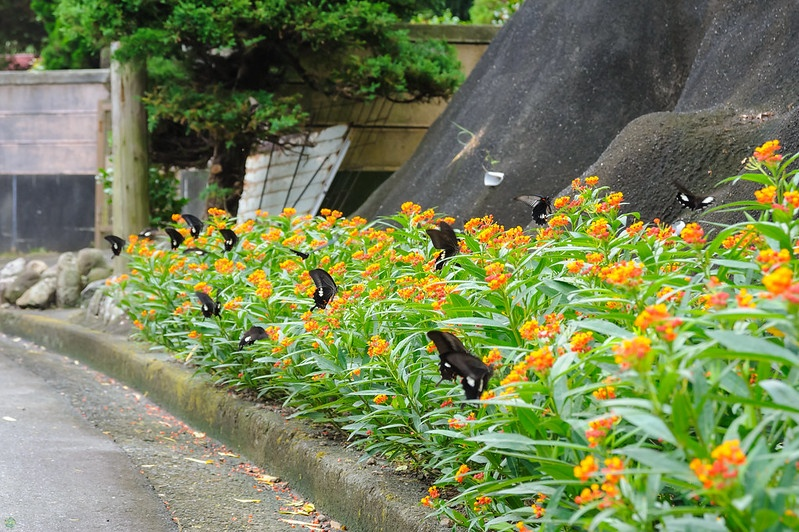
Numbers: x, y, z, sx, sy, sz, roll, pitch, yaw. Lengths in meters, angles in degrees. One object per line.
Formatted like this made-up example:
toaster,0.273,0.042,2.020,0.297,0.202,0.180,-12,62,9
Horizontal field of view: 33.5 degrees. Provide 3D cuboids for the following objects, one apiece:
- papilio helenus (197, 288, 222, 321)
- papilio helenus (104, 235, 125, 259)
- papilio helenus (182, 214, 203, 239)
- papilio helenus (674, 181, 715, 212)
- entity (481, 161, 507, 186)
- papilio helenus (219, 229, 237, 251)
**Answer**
papilio helenus,-1.446,0.291,10.126,0.164,0.189,0.121,59,25,1
papilio helenus,-2.677,-0.175,12.480,0.192,0.127,0.175,27,24,-20
papilio helenus,-1.706,-0.341,10.990,0.090,0.205,0.194,-14,65,-21
papilio helenus,2.237,-0.516,10.025,0.277,0.142,0.148,8,38,-40
entity,0.855,-0.786,11.960,0.148,0.175,0.178,7,56,-5
papilio helenus,-1.365,-0.209,10.629,0.136,0.129,0.229,11,-11,2
